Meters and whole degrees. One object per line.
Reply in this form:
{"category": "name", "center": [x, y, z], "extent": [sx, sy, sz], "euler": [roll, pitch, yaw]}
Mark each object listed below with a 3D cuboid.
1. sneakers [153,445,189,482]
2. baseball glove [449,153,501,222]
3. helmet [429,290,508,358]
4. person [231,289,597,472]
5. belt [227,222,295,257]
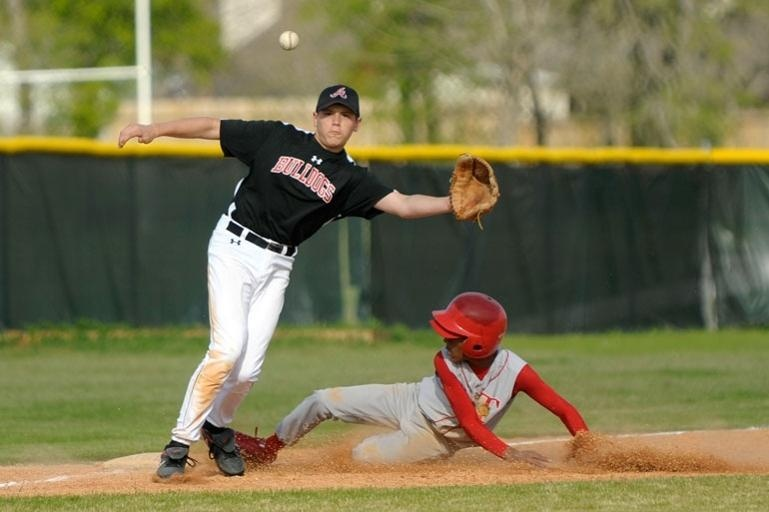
{"category": "sneakers", "center": [-1.829, 1.840, 13.316], "extent": [0.243, 0.289, 0.672], "euler": [5, 4, 3]}
{"category": "baseball glove", "center": [0.787, -0.601, 13.180], "extent": [0.440, 0.573, 0.206], "euler": [-1, 4, 6]}
{"category": "helmet", "center": [0.771, 0.624, 13.337], "extent": [0.654, 0.493, 0.488], "euler": [0, 23, -10]}
{"category": "person", "center": [0.262, 1.190, 13.385], "extent": [3.307, 1.588, 0.947], "euler": [-1, 18, 8]}
{"category": "belt", "center": [-1.087, -0.150, 13.338], "extent": [0.607, 0.335, 0.138], "euler": [-1, 14, -4]}
